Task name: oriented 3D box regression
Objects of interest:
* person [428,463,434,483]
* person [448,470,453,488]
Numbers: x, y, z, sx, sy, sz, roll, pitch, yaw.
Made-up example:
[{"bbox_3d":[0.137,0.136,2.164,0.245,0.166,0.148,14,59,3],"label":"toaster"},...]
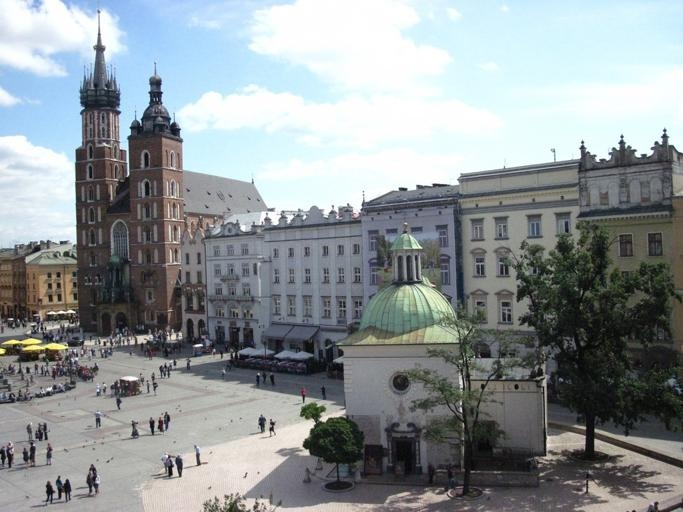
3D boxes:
[{"bbox_3d":[7.625,18.509,79.879,0.599,1.539,0.769,-1,9,3],"label":"person"},{"bbox_3d":[9.133,18.684,78.809,0.456,1.574,1.071,-1,9,7],"label":"person"}]
